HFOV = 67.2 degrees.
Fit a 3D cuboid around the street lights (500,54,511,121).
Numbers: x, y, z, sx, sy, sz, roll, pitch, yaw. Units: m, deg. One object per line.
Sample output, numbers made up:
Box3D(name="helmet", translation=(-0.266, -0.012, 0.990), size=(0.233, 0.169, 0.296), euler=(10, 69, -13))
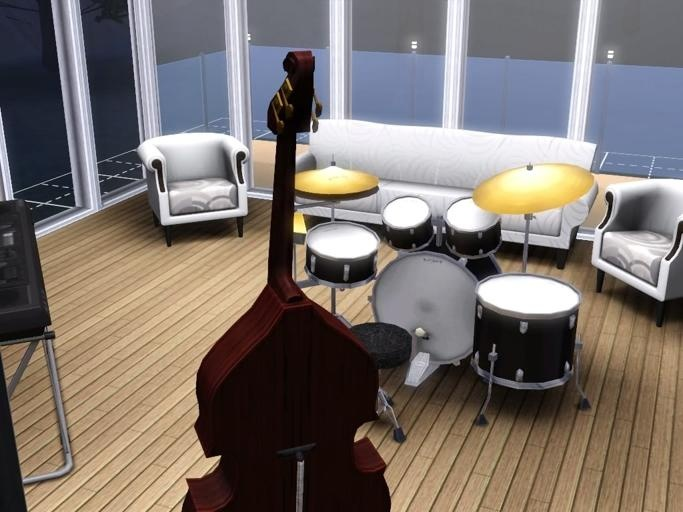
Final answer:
Box3D(name="street lights", translation=(1.831, -1.836, 5.756), size=(0.116, 0.762, 0.050), euler=(11, 24, 26))
